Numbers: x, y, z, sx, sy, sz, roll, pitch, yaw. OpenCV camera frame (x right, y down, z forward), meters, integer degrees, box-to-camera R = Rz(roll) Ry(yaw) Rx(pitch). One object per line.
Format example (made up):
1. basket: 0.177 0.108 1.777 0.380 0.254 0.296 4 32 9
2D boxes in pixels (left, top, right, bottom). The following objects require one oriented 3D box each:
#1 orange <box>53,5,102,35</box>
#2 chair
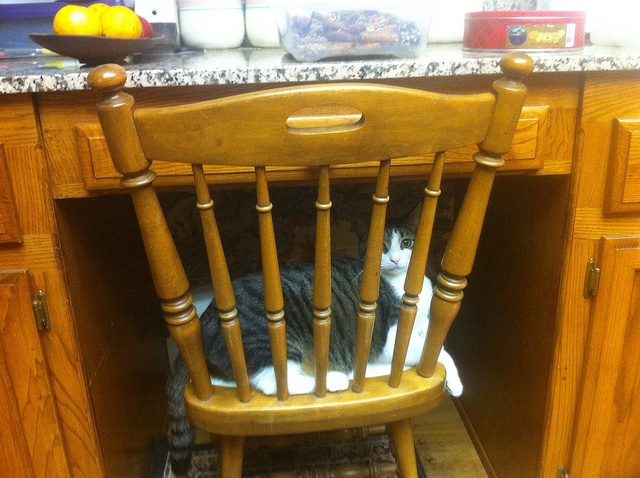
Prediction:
1. orange: -0.453 -0.405 0.915 0.082 0.056 0.172 -9 23 -19
2. chair: -0.020 -0.029 1.023 0.573 0.960 0.620 -2 22 -4
